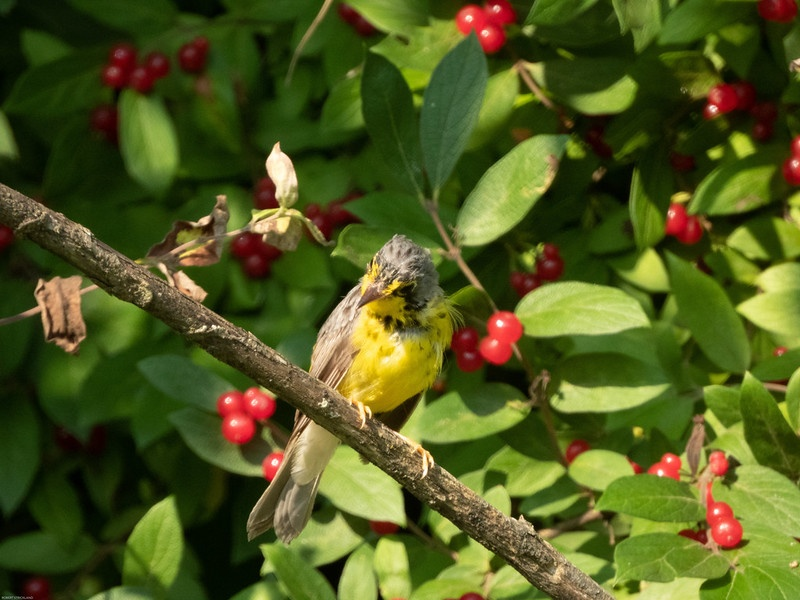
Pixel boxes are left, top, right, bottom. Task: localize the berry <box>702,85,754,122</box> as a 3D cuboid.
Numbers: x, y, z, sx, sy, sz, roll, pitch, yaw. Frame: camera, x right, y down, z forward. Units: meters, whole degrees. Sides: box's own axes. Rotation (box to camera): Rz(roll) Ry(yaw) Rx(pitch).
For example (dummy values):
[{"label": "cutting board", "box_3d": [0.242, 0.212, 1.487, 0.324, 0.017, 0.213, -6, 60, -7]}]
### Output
[{"label": "berry", "box_3d": [1.286, -0.782, 3.528, 0.206, 0.126, 0.119, -14, 6, 38]}]
